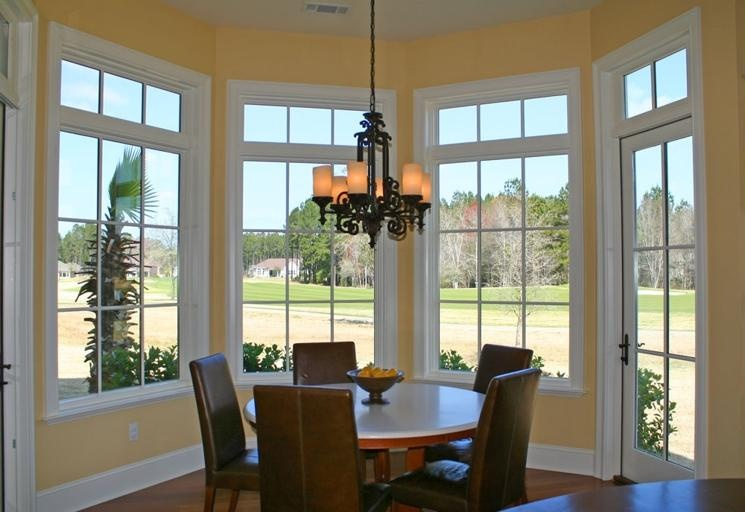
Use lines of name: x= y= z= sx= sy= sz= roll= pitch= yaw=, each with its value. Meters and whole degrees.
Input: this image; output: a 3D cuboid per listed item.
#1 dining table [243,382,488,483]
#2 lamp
dining table: x=0.128 y=1.034 z=3.951 sx=1.029 sy=0.390 sz=1.069 roll=-4 pitch=-5 yaw=25
lamp: x=-0.010 y=-1.117 z=4.570 sx=0.794 sy=2.168 sz=1.383 roll=0 pitch=-2 yaw=-1
